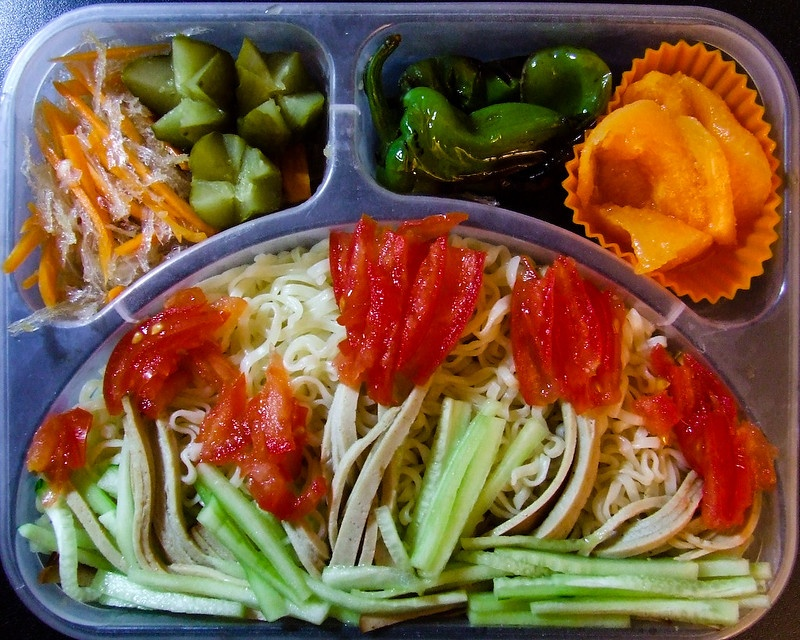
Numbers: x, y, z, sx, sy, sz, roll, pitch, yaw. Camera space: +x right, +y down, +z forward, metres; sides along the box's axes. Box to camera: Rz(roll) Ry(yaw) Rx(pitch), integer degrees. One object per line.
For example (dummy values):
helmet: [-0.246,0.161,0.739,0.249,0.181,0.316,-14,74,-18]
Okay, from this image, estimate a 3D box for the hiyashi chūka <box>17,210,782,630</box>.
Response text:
hiyashi chūka: [0.020,0.334,2.647,2.223,0.677,1.064,3,58,2]
